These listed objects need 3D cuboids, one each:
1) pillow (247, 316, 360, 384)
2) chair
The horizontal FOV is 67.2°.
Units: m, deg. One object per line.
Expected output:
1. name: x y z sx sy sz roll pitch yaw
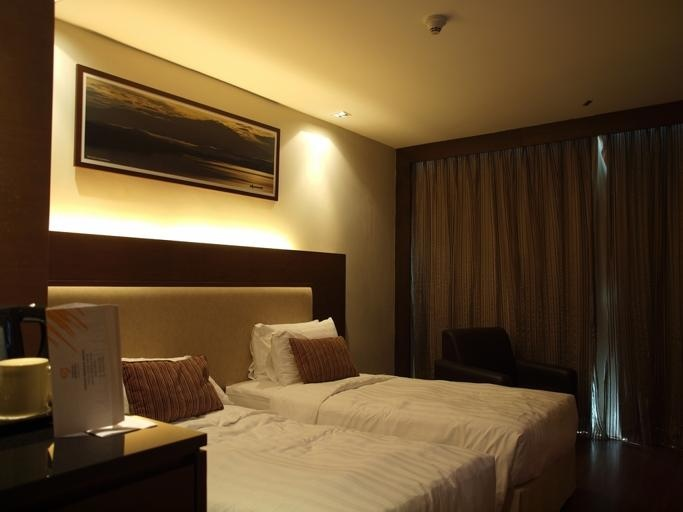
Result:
1. pillow: -0.359 0.785 4.299 0.902 0.882 0.282 4 -22 -33
2. chair: 1.453 0.972 4.838 0.700 0.869 0.762 5 -12 -34
